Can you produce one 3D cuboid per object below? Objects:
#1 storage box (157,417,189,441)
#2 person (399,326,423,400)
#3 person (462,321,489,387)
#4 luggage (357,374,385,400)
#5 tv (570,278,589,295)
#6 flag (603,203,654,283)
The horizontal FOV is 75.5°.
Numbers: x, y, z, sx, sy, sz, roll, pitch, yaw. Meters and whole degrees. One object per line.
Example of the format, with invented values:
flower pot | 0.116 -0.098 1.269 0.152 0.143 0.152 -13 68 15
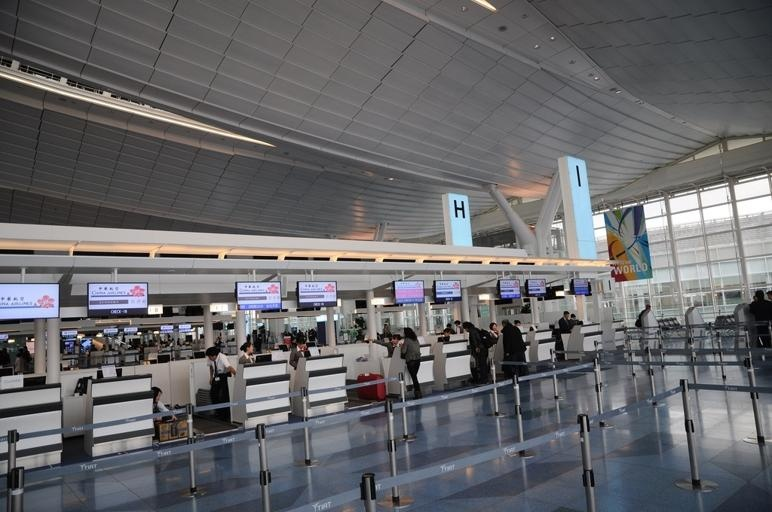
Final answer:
storage box | -5.437 4.397 12.619 0.726 0.515 0.422 -2 -9 -24
person | 0.767 3.236 15.180 0.620 2.103 0.902 -7 -9 1
person | 2.922 3.097 15.830 0.683 1.990 1.126 -8 -9 9
luggage | -0.404 4.095 15.552 0.600 0.775 1.204 -2 -8 -23
tv | 9.653 1.529 24.966 1.156 0.597 0.150 -3 2 -36
flag | 16.213 -0.854 33.616 1.019 4.980 2.507 1 -12 -44
